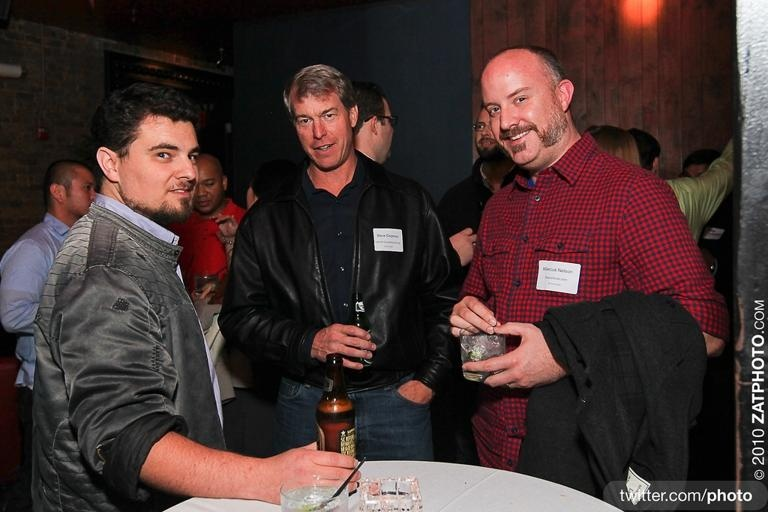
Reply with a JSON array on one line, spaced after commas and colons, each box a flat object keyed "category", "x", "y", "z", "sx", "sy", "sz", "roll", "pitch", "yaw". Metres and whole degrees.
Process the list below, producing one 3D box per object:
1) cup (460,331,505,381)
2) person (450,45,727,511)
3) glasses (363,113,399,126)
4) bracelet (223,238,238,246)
[{"category": "cup", "x": 0.378, "y": 0.363, "z": 2.214, "sx": 0.199, "sy": 0.192, "sz": 0.147, "roll": -4, "pitch": -6, "yaw": 16}, {"category": "person", "x": 0.746, "y": 0.021, "z": 2.198, "sx": 0.958, "sy": 1.736, "sz": 0.657, "roll": 1, "pitch": 5, "yaw": 30}, {"category": "glasses", "x": -0.019, "y": -0.769, "z": 3.336, "sx": 0.126, "sy": 0.037, "sz": 0.125, "roll": -1, "pitch": 4, "yaw": 14}, {"category": "bracelet", "x": -0.965, "y": -0.091, "z": 3.673, "sx": 0.058, "sy": 0.027, "sz": 0.060, "roll": 1, "pitch": 44, "yaw": -3}]
